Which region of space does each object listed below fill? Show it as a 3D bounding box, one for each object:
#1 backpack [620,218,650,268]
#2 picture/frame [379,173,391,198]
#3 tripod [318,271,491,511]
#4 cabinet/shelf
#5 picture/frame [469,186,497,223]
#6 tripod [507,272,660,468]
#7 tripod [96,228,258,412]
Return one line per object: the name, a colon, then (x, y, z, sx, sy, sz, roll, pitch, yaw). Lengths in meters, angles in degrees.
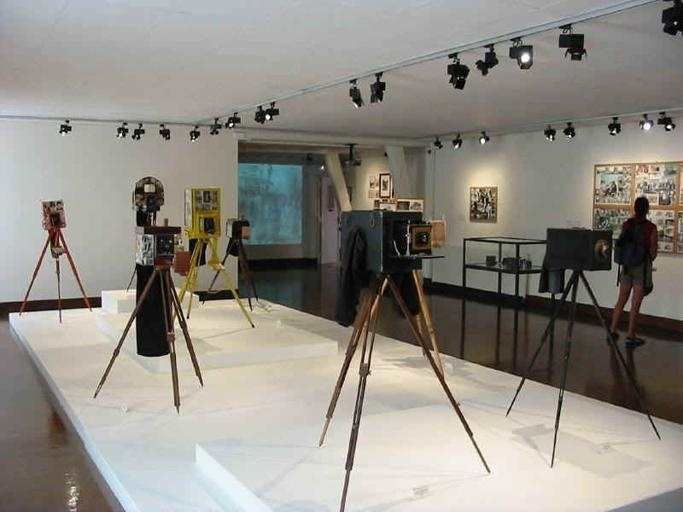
backpack: (4.146, -0.190, 7.446, 0.432, 0.701, 0.371, 14, 32, 40)
picture/frame: (1.177, -1.891, 14.033, 0.054, 0.873, 0.581, -3, 7, -33)
tripod: (0.426, 0.859, 4.293, 1.230, 1.796, 1.388, -2, 0, -23)
cabinet/shelf: (2.761, 0.246, 9.738, 0.817, 1.242, 1.252, 6, 12, 13)
picture/frame: (3.120, -1.118, 11.398, 0.058, 0.854, 0.691, -3, 7, -35)
tripod: (2.104, 0.858, 4.425, 1.172, 1.629, 1.361, 2, 2, 17)
tripod: (-1.942, 0.549, 5.511, 0.876, 1.716, 1.621, -2, 7, -13)
